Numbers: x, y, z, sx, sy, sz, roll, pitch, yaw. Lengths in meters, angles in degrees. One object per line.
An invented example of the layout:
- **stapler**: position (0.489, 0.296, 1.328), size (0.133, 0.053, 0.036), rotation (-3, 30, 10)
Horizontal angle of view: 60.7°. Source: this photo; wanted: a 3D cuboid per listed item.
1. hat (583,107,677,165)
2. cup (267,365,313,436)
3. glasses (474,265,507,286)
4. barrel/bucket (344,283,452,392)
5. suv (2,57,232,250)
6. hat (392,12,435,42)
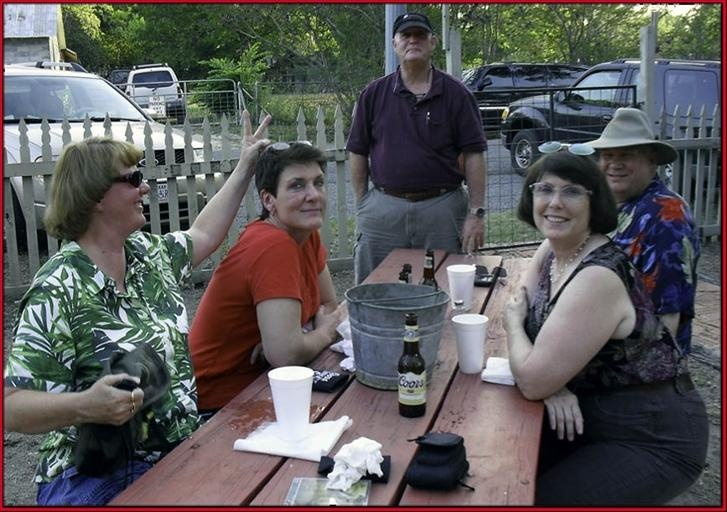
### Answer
- **hat**: position (1.651, -0.751, 3.898), size (0.585, 0.328, 0.674), rotation (1, 23, 19)
- **cup**: position (-0.295, 0.612, 2.630), size (0.156, 0.280, 0.189), rotation (8, 15, 42)
- **glasses**: position (0.858, 0.156, 4.307), size (0.151, 0.172, 0.049), rotation (-3, -5, 19)
- **barrel/bucket**: position (0.158, 0.374, 2.965), size (0.489, 0.409, 0.471), rotation (3, 10, -1)
- **suv**: position (-3.741, -1.487, 8.177), size (2.032, 1.820, 4.279), rotation (-6, 10, -40)
- **hat**: position (0.411, -1.953, 5.199), size (0.322, 0.188, 0.256), rotation (-2, 11, 6)
